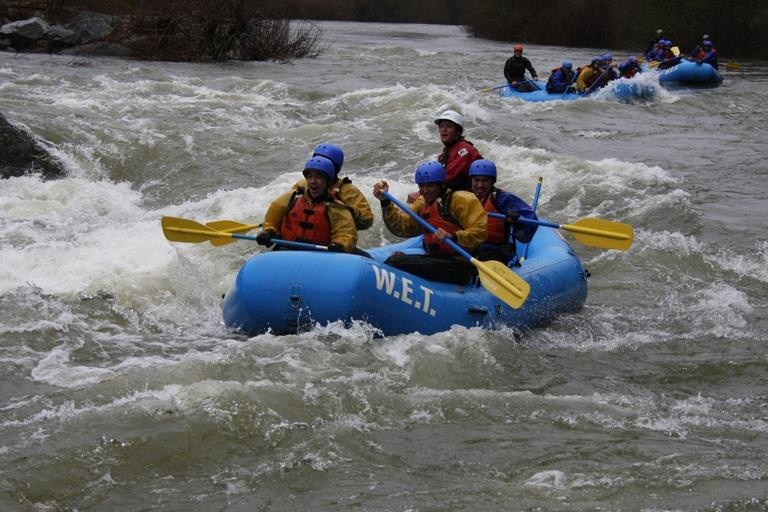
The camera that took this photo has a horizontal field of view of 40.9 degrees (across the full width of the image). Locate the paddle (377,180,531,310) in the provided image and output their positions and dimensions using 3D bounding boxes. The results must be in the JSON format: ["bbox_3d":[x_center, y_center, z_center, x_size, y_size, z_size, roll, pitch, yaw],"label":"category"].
[{"bbox_3d":[0.945,-0.100,13.340,2.258,0.444,0.097,31,-4,20],"label":"paddle"}]

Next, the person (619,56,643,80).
[{"bbox_3d":[6.253,-4.818,25.861,0.532,0.350,0.870,20,45,24],"label":"person"}]

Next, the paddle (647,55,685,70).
[{"bbox_3d":[7.399,-5.069,26.943,1.528,0.362,0.488,-11,15,-34],"label":"paddle"}]

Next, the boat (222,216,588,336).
[{"bbox_3d":[0.430,0.152,13.108,3.134,0.766,1.802,-5,11,-31],"label":"boat"}]

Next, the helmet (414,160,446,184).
[{"bbox_3d":[0.613,-1.056,13.336,0.303,0.347,0.266,-5,43,12],"label":"helmet"}]

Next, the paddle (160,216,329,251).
[{"bbox_3d":[-1.868,-0.292,13.876,1.862,0.363,0.325,4,-29,17],"label":"paddle"}]

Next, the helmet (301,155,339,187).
[{"bbox_3d":[-0.835,-1.105,13.301,0.349,0.358,0.298,6,19,12],"label":"helmet"}]

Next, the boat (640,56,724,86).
[{"bbox_3d":[7.821,-4.677,26.448,2.085,0.664,0.592,-4,14,-30],"label":"boat"}]

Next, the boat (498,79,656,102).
[{"bbox_3d":[4.717,-3.913,24.436,2.117,0.298,0.969,0,8,25],"label":"boat"}]
